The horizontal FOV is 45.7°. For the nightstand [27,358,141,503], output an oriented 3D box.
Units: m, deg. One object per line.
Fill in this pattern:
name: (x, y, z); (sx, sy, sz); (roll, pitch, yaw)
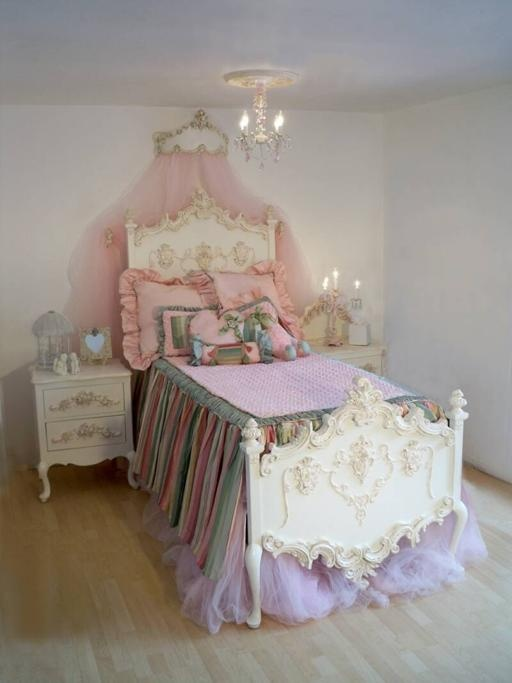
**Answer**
nightstand: (-1.060, 0.541, 3.567); (0.597, 0.645, 0.440); (-3, -2, -29)

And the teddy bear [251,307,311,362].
teddy bear: (0.101, -0.026, 3.506); (0.237, 0.147, 0.362); (-25, 58, -19)

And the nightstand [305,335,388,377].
nightstand: (0.632, 0.029, 4.072); (0.437, 0.358, 0.255); (9, 19, 29)

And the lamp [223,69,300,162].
lamp: (0.026, -1.294, 3.586); (0.540, 0.518, 0.496); (-6, 18, -25)

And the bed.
bed: (0.378, -0.018, 3.363); (2.002, 1.739, 2.148); (-6, 10, -25)
